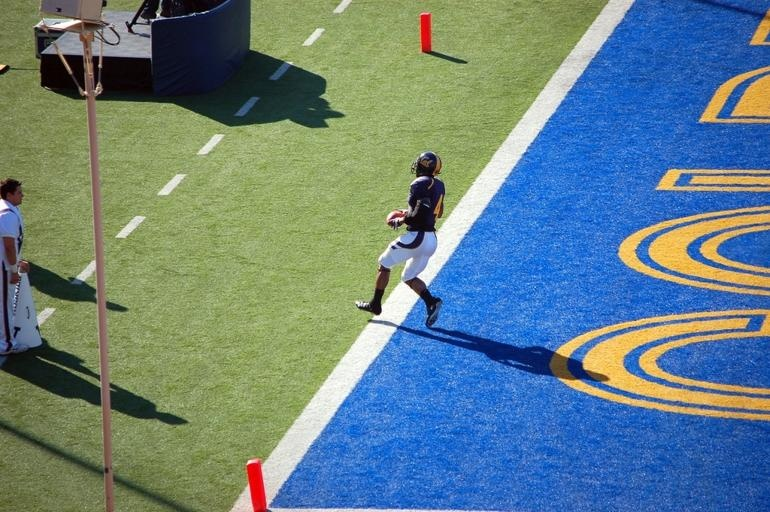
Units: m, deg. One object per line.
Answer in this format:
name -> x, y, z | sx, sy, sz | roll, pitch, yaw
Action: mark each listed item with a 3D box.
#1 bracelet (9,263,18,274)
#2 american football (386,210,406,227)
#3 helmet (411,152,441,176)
bracelet -> -5.957, 0.210, 22.810 | 0.165, 0.110, 0.136 | 0, 4, -10
american football -> 0.210, -0.624, 23.389 | 0.307, 0.124, 0.321 | 3, 30, 29
helmet -> 0.651, -1.485, 23.308 | 0.458, 0.456, 0.475 | -8, 36, 0
